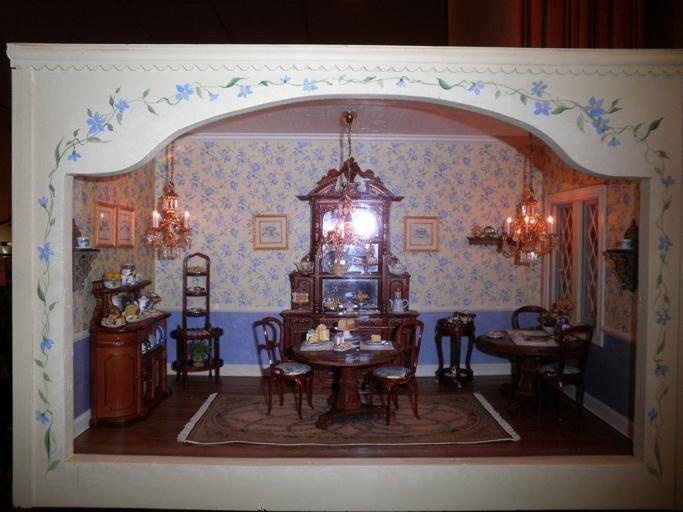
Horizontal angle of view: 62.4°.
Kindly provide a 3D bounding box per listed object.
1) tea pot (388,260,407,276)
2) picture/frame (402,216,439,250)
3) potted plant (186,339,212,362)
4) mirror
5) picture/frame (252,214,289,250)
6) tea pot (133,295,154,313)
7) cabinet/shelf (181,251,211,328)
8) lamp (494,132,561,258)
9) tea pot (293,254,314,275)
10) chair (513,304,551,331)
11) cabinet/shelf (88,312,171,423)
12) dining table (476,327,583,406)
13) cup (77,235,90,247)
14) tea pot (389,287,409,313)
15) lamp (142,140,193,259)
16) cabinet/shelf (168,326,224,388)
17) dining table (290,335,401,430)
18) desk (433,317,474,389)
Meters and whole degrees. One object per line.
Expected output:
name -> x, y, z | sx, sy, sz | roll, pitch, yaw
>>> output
tea pot -> 0.757, 0.130, 7.852 | 0.238, 0.232, 0.233 | 0, 9, 0
picture/frame -> 1.097, -0.352, 8.097 | 0.435, 0.469, 0.037 | 1, 0, -6
potted plant -> -1.909, 1.275, 7.570 | 0.266, 0.277, 0.281 | 0, -1, -5
mirror -> 0.018, -0.275, 7.862 | 1.924, 2.602, 0.366 | 0, 1, -3
picture/frame -> -1.018, -0.362, 8.038 | 0.437, 0.491, 0.048 | -1, 3, 0
tea pot -> -2.447, 0.602, 7.094 | 0.167, 0.157, 0.178 | 1, -4, 0
cabinet/shelf -> -2.012, 0.517, 7.845 | 0.433, 1.255, 0.386 | 0, 16, -16
lamp -> 2.482, -0.671, 7.569 | 0.777, 1.749, 1.492 | 3, 9, 18
tea pot -> -0.505, 0.127, 7.909 | 0.249, 0.268, 0.205 | 1, 2, -4
chair -> 2.622, 0.848, 7.893 | 0.383, 0.565, 0.405 | -2, -7, 17
cabinet/shelf -> -2.453, 1.276, 6.465 | 0.425, 1.028, 1.136 | 0, 3, -1
dining table -> 2.230, 1.217, 6.824 | 0.874, 0.576, 0.892 | 0, -3, -2
cup -> -2.833, -0.172, 6.266 | 0.117, 0.101, 0.121 | 1, -1, 0
tea pot -> 0.798, 0.599, 7.727 | 0.271, 0.302, 0.235 | -1, 9, -8
lamp -> -2.325, -0.711, 7.629 | 0.615, 1.633, 1.104 | -3, 9, -20
cabinet/shelf -> -1.910, 1.245, 7.766 | 0.836, 1.025, 0.671 | 0, 2, -4
dining table -> 0.003, 1.338, 6.514 | 0.982, 0.709, 1.010 | 0, 4, 6
desk -> 1.554, 1.280, 7.745 | 0.525, 0.855, 0.575 | 0, 1, -13
